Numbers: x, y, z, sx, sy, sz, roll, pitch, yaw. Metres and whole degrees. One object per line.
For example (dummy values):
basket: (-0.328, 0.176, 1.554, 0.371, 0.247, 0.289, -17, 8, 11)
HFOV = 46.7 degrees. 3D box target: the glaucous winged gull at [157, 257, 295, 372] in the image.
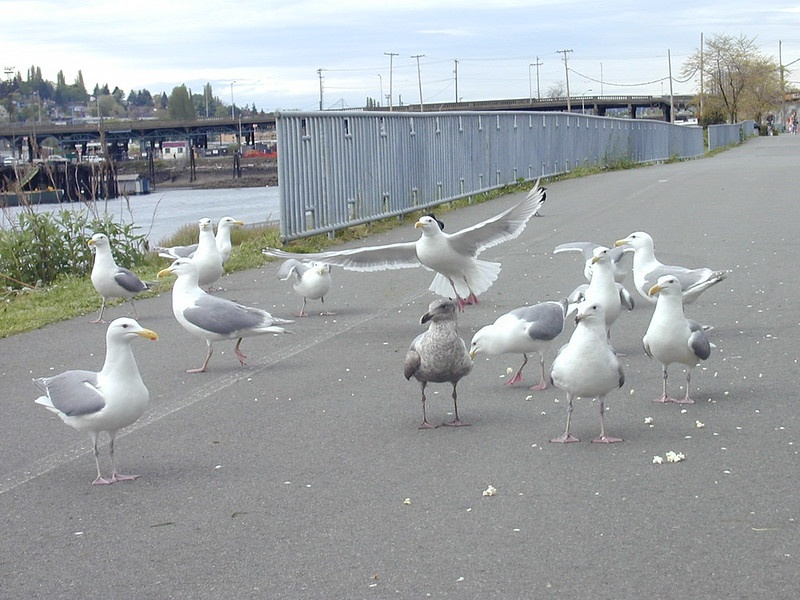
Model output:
glaucous winged gull: (-1.803, 0.178, 9.312, 1.195, 1.127, 0.755, 10, 17, 43)

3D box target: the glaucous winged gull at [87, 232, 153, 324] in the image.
glaucous winged gull: (-3.552, -0.342, 11.680, 0.692, 1.259, 0.697, 4, 11, -9)
